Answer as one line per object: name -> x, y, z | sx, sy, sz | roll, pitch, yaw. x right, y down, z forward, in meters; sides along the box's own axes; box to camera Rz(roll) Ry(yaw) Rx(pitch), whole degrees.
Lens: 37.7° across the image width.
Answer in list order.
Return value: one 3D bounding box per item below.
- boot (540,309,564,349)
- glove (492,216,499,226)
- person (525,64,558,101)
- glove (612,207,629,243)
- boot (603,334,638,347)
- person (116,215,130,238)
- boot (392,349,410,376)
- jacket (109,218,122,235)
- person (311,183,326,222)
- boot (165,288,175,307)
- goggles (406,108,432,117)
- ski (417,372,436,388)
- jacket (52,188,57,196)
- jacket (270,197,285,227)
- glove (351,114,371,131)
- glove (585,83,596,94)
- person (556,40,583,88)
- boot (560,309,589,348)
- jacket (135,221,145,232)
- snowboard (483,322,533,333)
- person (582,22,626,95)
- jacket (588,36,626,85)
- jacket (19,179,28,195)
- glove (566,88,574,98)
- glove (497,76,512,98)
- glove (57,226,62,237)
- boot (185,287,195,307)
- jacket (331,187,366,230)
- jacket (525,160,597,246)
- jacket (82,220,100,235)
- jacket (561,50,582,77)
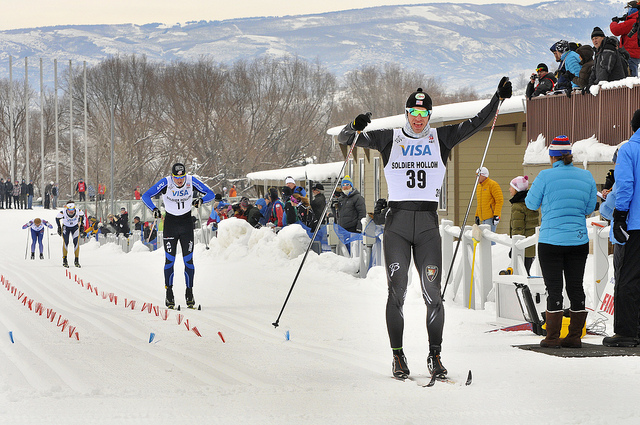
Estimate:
boot -> 3.443, 1.700, 13.760 | 0.319, 0.528, 0.403 | 0, 6, 15
glove -> 3.731, 0.178, 19.591 | 0.089, 0.160, 0.122 | 7, -6, -41
person -> 5.575, -3.232, 23.340 | 0.688, 0.824, 1.535 | 0, 6, 8
glove -> 4.399, 0.195, 13.667 | 0.324, 0.408, 0.175 | 3, 2, -18
boot -> 4.418, 1.881, 13.593 | 0.427, 0.211, 0.177 | 6, 1, 18
person -> -8.578, 0.536, 40.361 | 0.507, 0.815, 0.870 | -3, 6, -13
boot -> 1.112, 2.003, 12.556 | 0.221, 0.361, 0.243 | -1, 6, 4
jacket -> -8.859, 0.570, 40.729 | 0.309, 0.688, 0.846 | -3, 6, -19
person -> -0.030, -0.276, 24.072 | 0.349, 0.929, 0.956 | -1, 6, 0
boot -> -2.830, 1.609, 17.604 | 0.143, 0.293, 0.383 | -2, 6, -10
goggles -> 1.384, -1.368, 12.856 | 0.346, 0.123, 0.147 | -1, 6, 3
ski -> 1.437, 2.195, 12.212 | 0.271, 0.125, 0.205 | -2, 6, -11
jacket -> -16.386, -1.287, 57.384 | 0.431, 0.542, 0.297 | 0, -3, -12
jacket -> -1.149, 0.017, 25.656 | 0.363, 0.712, 0.824 | 1, 3, 1
glove -> 0.587, -1.233, 12.892 | 0.270, 0.224, 0.204 | 5, 8, 45
glove -> 6.187, -2.803, 21.228 | 0.150, 0.236, 0.333 | -2, 6, -9
person -> 5.842, -3.557, 21.775 | 0.529, 0.831, 0.554 | -2, 6, -10
boot -> 3.793, 1.703, 13.771 | 0.482, 0.562, 0.223 | -3, 6, -21
jacket -> -7.423, 0.554, 38.340 | 0.307, 0.315, 0.599 | -3, 6, -18
snowboard -> 3.060, 1.852, 15.050 | 0.784, 0.087, 0.227 | -6, 44, 7
person -> 6.222, -3.344, 20.566 | 0.914, 1.382, 0.831 | 4, 8, 42
jacket -> 6.248, -3.304, 20.552 | 0.656, 0.973, 0.887 | -5, 7, -36
jacket -> -17.970, -1.446, 56.498 | 0.441, 0.698, 1.179 | -3, 6, -17
glove -> 5.896, -2.779, 21.800 | 0.168, 0.217, 0.460 | 1, 6, 16
glove -> 2.559, -1.698, 12.766 | 0.195, 0.271, 0.208 | -1, 6, -1
glove -> -7.547, 0.543, 27.076 | 0.164, 0.212, 0.075 | 6, 6, 32
boot -> -2.453, 1.605, 17.726 | 0.175, 0.284, 0.111 | -3, -14, -12
jacket -> 0.709, -0.064, 22.649 | 0.469, 1.021, 0.991 | 8, -8, -35
jacket -> 3.662, -0.114, 14.061 | 1.116, 1.219, 0.699 | 1, -6, -9
jacket -> -10.398, 0.725, 42.676 | 0.824, 0.217, 0.457 | -37, 38, -6
jacket -> 5.939, -3.475, 21.767 | 0.268, 0.487, 0.456 | -16, -49, 33
